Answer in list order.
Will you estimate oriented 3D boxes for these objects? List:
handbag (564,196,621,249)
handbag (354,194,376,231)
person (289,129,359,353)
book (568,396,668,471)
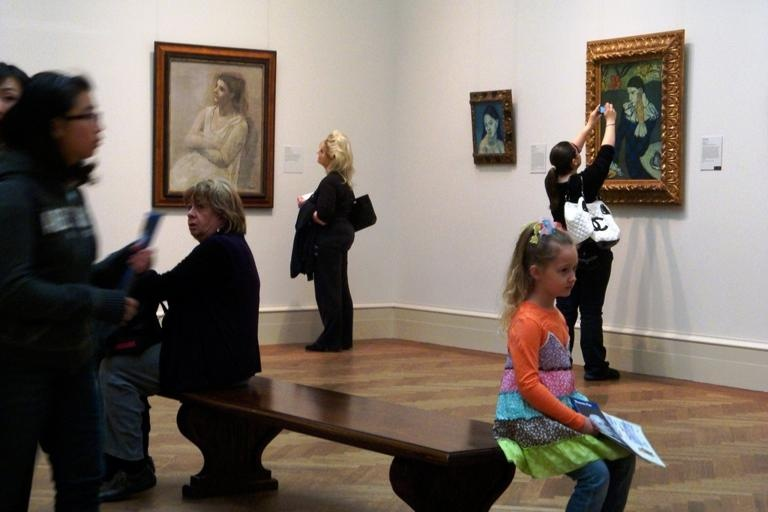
[{"bbox_3d":[2.102,-0.338,5.763,0.544,0.564,0.280,3,-6,-15],"label":"handbag"},{"bbox_3d":[-0.279,-0.606,7.878,0.422,0.428,0.145,-21,7,-1],"label":"handbag"},{"bbox_3d":[-0.797,-0.206,7.636,0.768,2.976,0.407,3,0,-13],"label":"person"},{"bbox_3d":[1.106,0.824,2.749,0.384,0.299,0.416,3,0,19],"label":"book"}]
